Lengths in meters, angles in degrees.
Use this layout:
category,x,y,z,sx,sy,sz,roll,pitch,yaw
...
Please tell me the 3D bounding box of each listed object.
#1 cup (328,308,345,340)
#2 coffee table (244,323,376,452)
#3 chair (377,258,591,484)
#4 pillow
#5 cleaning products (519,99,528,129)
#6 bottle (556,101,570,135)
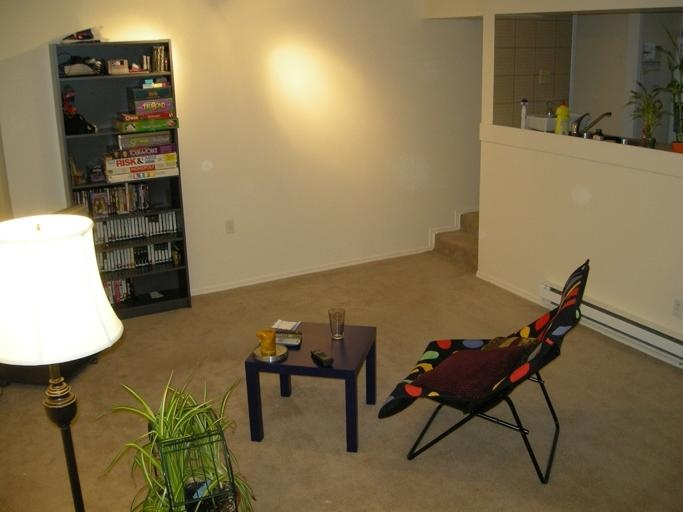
category,x,y,z,sx,sy,sz,roll,pitch,yaw
cup,-0.038,0.464,3.821,0.126,0.210,0.131,-1,16,0
coffee table,-0.175,0.910,3.824,0.746,0.613,0.756,2,17,13
chair,0.824,0.665,3.512,1.211,1.141,1.068,5,12,35
pillow,0.772,0.679,3.328,0.418,0.110,0.428,-24,12,19
cleaning products,1.738,-1.373,5.418,0.071,0.255,0.609,3,17,16
bottle,1.958,-1.218,5.026,0.117,0.240,0.378,5,17,20
